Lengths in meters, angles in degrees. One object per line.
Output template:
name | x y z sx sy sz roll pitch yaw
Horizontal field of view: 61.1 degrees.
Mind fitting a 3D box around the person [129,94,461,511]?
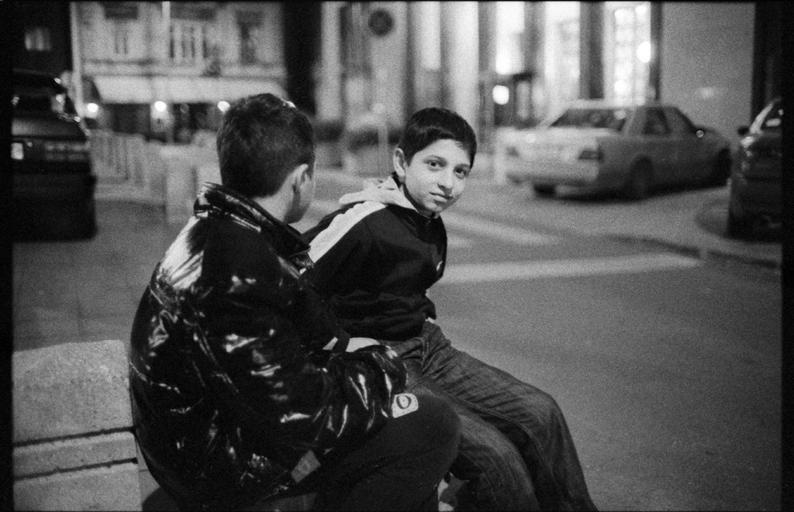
person | -0.466 -0.007 2.782 1.233 2.006 0.997 -11 20 -25
